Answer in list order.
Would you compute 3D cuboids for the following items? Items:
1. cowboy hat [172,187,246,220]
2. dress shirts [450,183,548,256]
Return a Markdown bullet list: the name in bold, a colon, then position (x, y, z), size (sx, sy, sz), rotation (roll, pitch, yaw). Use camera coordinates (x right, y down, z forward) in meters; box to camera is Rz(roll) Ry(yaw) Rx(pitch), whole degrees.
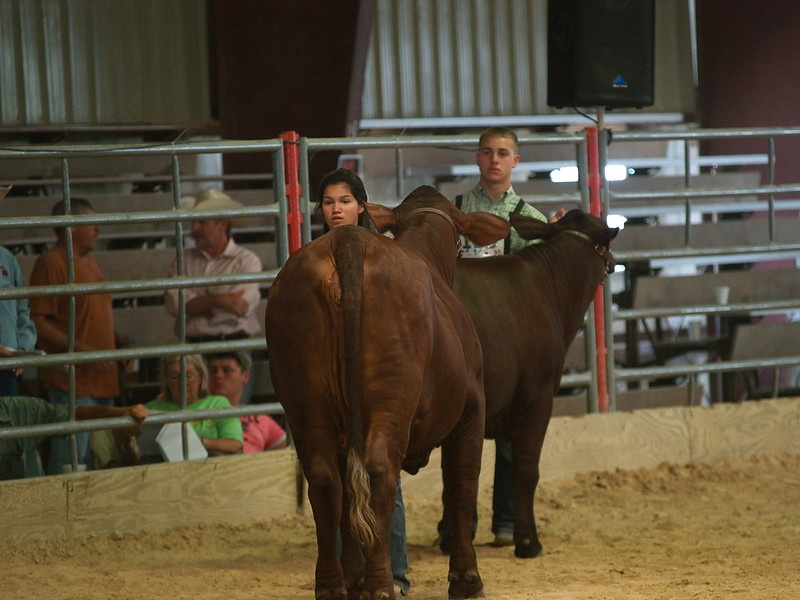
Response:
- **cowboy hat**: position (-1.695, -0.856, 15.300), size (0.557, 0.225, 0.505), rotation (-4, -2, 2)
- **dress shirts**: position (0.725, -0.627, 13.441), size (0.529, 0.638, 0.478), rotation (-1, 16, -6)
